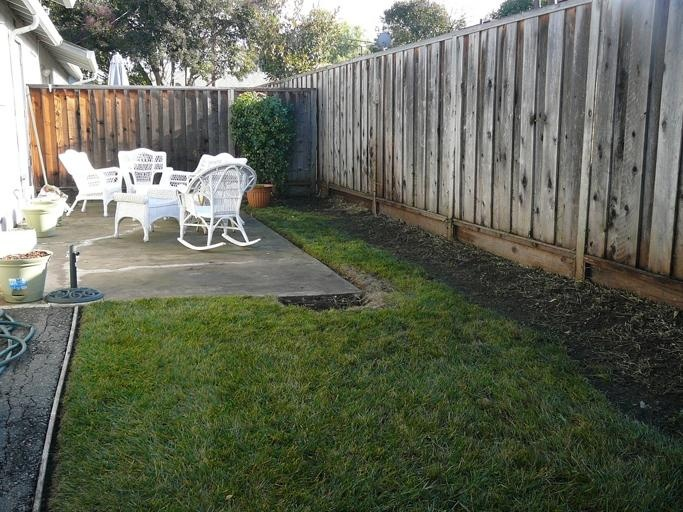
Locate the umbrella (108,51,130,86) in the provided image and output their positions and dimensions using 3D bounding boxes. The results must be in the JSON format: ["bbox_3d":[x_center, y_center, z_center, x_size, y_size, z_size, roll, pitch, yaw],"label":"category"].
[{"bbox_3d":[-5.690,-4.820,12.573,0.419,0.866,1.300,-8,16,-22],"label":"umbrella"}]

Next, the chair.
[{"bbox_3d":[-2.193,-0.762,6.606,2.087,1.481,1.502,2,5,-3],"label":"chair"}]

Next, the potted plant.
[{"bbox_3d":[-1.555,-2.328,10.622,2.033,2.982,1.948,0,15,-3],"label":"potted plant"}]
